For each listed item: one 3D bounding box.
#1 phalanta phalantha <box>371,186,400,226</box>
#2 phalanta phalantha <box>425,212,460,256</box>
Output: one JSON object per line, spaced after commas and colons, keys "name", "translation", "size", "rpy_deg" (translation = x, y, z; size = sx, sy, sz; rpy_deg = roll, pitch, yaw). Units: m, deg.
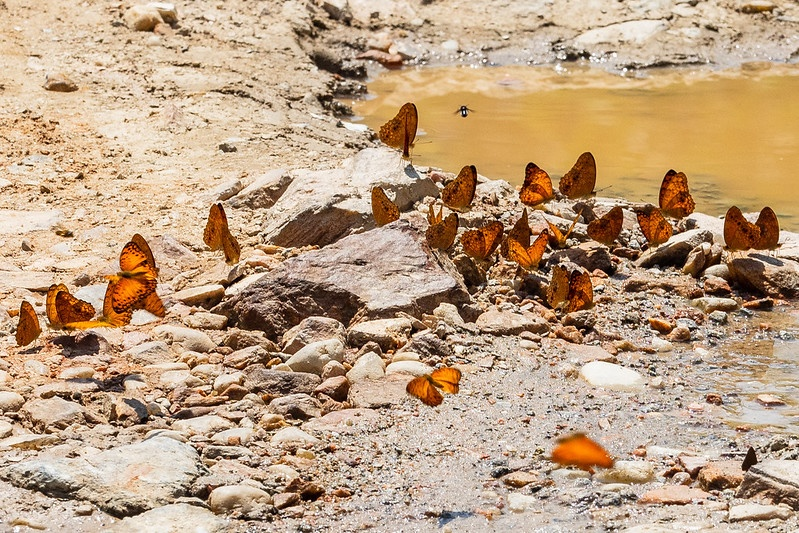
{"name": "phalanta phalantha", "translation": [-0.219, -0.828, 21.861], "size": [0.369, 0.571, 0.142], "rpy_deg": [-7, -9, -6]}
{"name": "phalanta phalantha", "translation": [0.616, -0.448, 21.597], "size": [0.571, 0.400, 0.176], "rpy_deg": [-21, 45, -29]}
